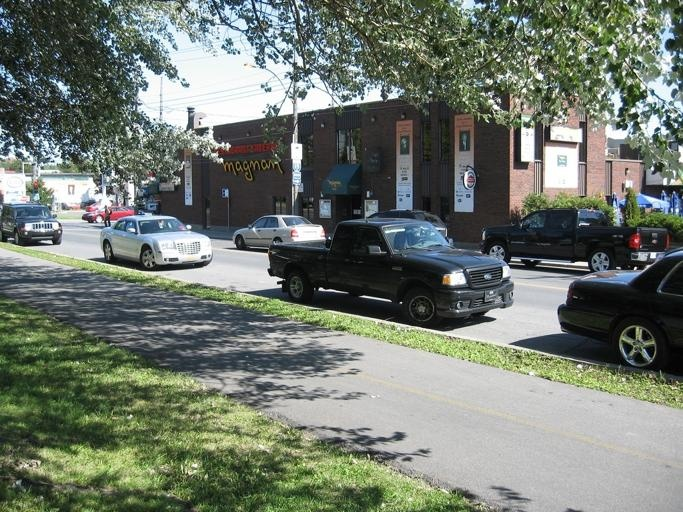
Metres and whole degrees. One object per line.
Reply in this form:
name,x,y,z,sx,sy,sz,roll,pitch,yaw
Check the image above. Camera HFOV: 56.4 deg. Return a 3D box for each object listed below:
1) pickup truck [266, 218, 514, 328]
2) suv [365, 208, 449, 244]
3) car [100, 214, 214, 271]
pickup truck,0.880,0.204,14.622,2.052,2.099,5.938,-7,12,-44
suv,2.866,-0.998,26.539,1.654,1.444,3.585,-3,8,-34
car,-6.676,-0.548,22.696,4.045,1.704,1.727,8,11,39
